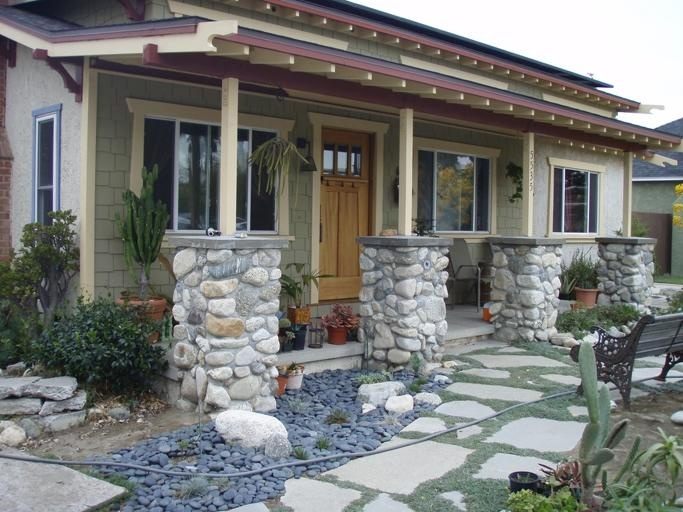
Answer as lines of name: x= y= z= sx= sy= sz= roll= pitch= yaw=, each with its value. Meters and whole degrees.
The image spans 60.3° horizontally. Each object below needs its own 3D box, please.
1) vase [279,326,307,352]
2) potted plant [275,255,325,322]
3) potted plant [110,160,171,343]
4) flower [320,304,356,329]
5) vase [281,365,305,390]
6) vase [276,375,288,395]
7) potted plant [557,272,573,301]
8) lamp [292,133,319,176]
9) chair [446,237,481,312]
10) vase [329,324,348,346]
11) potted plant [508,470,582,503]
vase: x=-0.645 y=1.080 z=7.655 sx=0.303 sy=0.284 sz=0.319 roll=0 pitch=-4 yaw=5
potted plant: x=-0.573 y=0.556 z=8.164 sx=0.615 sy=0.781 sz=0.813 roll=0 pitch=4 yaw=13
potted plant: x=-2.503 y=-0.063 z=7.396 sx=0.677 sy=2.130 sz=1.099 roll=-2 pitch=9 yaw=-18
flower: x=-0.011 y=0.852 z=8.238 sx=0.355 sy=0.237 sz=0.358 roll=1 pitch=1 yaw=-2
vase: x=-0.592 y=1.475 z=7.176 sx=0.250 sy=0.194 sz=0.251 roll=0 pitch=-2 yaw=-6
vase: x=-0.722 y=1.540 z=6.992 sx=0.169 sy=0.189 sz=0.171 roll=0 pitch=-5 yaw=-1
potted plant: x=4.393 y=0.655 z=11.582 sx=0.254 sy=0.606 sz=1.171 roll=4 pitch=9 yaw=21
lamp: x=-0.570 y=-1.572 z=9.112 sx=0.320 sy=0.563 sz=0.195 roll=-6 pitch=10 yaw=-36
chair: x=2.310 y=0.333 z=11.141 sx=0.632 sy=1.308 sz=1.254 roll=2 pitch=8 yaw=13
vase: x=-0.054 y=1.096 z=8.109 sx=0.247 sy=0.183 sz=0.246 roll=1 pitch=-1 yaw=-18
potted plant: x=1.517 y=1.777 z=4.583 sx=0.332 sy=0.125 sz=0.251 roll=0 pitch=-3 yaw=33
